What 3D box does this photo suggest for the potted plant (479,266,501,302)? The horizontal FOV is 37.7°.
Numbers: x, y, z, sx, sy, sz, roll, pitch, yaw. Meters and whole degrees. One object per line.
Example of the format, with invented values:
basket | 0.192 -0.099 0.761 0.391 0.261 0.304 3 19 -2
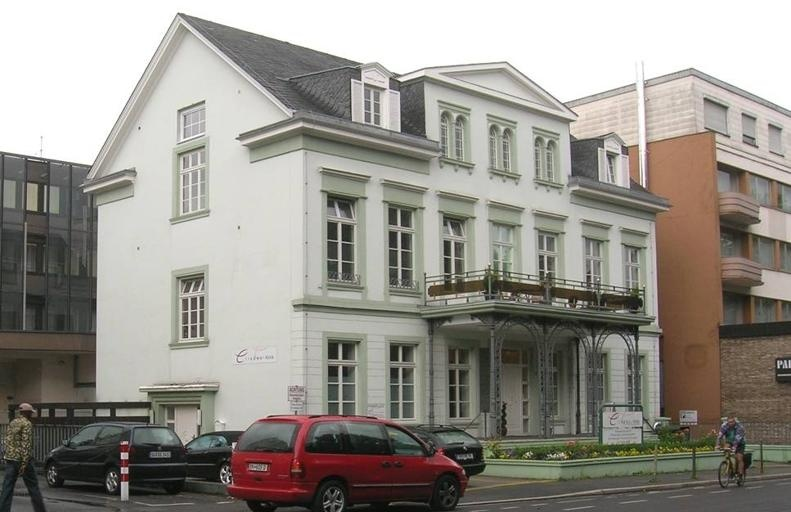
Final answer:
potted plant | 3.876 1.235 48.382 0.644 1.753 1.170 7 -13 -21
